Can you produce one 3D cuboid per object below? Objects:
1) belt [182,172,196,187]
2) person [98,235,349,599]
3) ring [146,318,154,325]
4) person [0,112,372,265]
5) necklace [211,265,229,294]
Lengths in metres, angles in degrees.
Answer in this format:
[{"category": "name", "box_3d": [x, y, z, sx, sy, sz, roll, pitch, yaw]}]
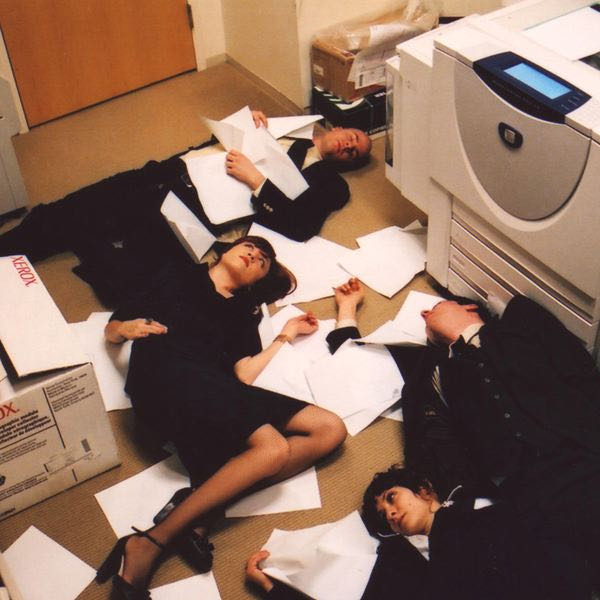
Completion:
[{"category": "belt", "box_3d": [-0.433, -0.468, 2.174, 0.044, 0.039, 0.034, 44, 63, 6]}, {"category": "person", "box_3d": [-0.220, 0.335, 1.534, 0.389, 0.388, 0.768, -22, 39, 30]}, {"category": "ring", "box_3d": [-0.440, 0.059, 1.639, 0.013, 0.013, 0.014, 3, 65, -6]}, {"category": "person", "box_3d": [-0.422, -0.436, 2.282, 1.509, 0.302, 0.570, -9, 51, -1]}, {"category": "necklace", "box_3d": [-0.258, -0.062, 1.836, 0.031, 0.067, 0.092, -23, 77, 5]}]
